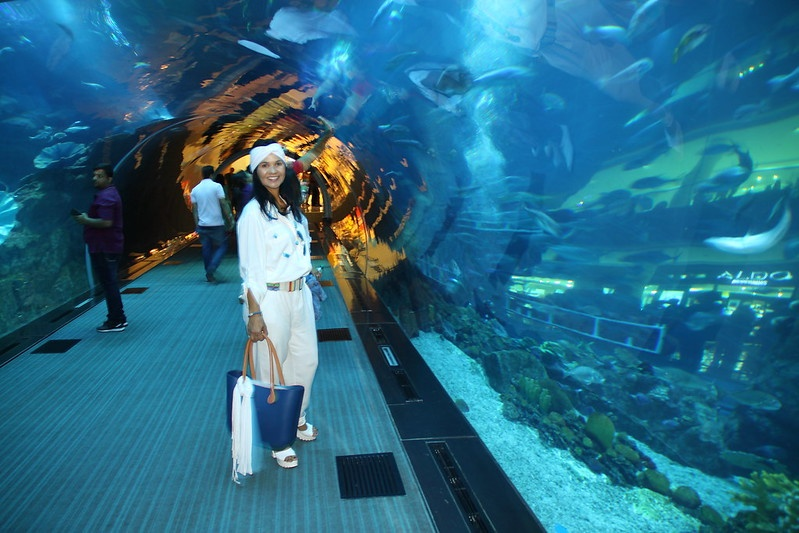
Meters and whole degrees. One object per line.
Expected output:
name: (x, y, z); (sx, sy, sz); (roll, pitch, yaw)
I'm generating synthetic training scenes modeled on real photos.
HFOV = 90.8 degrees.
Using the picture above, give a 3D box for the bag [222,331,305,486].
bag: (-1.147, 1.231, 3.309); (0.557, 1.315, 0.555); (2, 6, -21)

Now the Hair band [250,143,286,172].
Hair band: (-1.093, -0.902, 3.285); (0.262, 0.140, 0.281); (-7, 13, -7)
